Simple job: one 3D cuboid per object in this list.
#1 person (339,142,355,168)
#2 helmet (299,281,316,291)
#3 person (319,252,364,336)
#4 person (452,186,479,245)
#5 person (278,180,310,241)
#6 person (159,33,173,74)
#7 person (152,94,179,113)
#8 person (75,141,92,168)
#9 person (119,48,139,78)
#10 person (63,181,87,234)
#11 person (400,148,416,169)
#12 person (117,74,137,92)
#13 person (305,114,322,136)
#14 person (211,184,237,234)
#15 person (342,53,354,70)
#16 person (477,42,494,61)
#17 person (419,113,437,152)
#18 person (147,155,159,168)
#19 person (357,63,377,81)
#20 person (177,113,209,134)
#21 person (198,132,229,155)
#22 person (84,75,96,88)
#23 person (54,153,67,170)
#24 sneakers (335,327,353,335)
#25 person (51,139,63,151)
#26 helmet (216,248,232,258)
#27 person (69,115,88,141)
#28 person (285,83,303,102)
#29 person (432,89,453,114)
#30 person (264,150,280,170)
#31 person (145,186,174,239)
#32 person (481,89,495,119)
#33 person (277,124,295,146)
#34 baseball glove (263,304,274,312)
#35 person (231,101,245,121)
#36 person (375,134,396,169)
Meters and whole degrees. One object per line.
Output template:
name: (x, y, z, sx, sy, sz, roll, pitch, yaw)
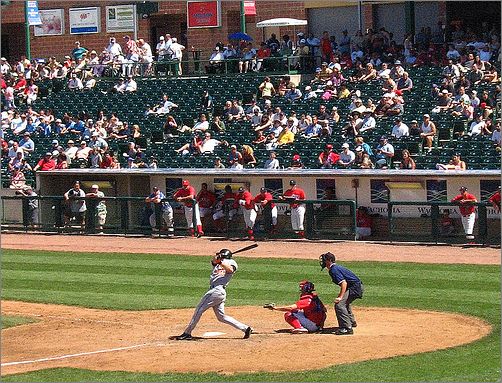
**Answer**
person: (3.654, -1.418, 50.227, 0.472, 0.828, 0.819, -10, 13, -39)
helmet: (1.666, 2.594, 38.860, 0.335, 0.274, 0.275, 2, -4, 10)
person: (2.674, 2.784, 38.567, 1.149, 2.245, 0.623, -1, 10, 4)
person: (7.609, 0.808, 46.631, 0.622, 2.130, 0.799, -14, 11, -34)
person: (1.645, 0.547, 48.711, 0.875, 2.006, 0.527, 2, 11, 17)
person: (-3.768, -6.171, 60.127, 0.549, 1.606, 1.116, -2, 10, -3)
person: (-3.654, -3.663, 56.956, 0.648, 0.541, 0.936, 11, 6, 15)
person: (-6.829, -1.631, 54.709, 0.682, 0.896, 1.628, -3, 10, -8)
person: (-5.436, -5.743, 60.395, 0.803, 1.047, 0.992, -2, 10, -2)
person: (-6.630, 0.466, 50.980, 1.009, 1.759, 0.596, 4, 11, 27)
person: (5.783, -1.253, 49.061, 0.501, 0.649, 0.805, 0, 10, 7)
person: (-5.462, -4.762, 59.370, 0.629, 0.585, 0.845, 4, -3, 8)
person: (2.489, -2.618, 52.620, 0.628, 0.856, 0.520, 3, -23, 23)
person: (-0.856, 0.548, 49.814, 0.725, 1.697, 1.046, -7, 11, -27)
person: (4.141, -5.515, 56.924, 0.642, 0.513, 0.929, 0, 46, 7)
person: (9.325, -5.458, 52.881, 0.591, 0.436, 1.419, -9, 14, 26)
person: (6.705, -2.272, 50.245, 0.567, 1.289, 0.677, 0, 10, 8)
person: (-3.782, -1.166, 52.817, 0.426, 0.759, 0.555, 3, 8, -10)
person: (4.879, -4.797, 54.656, 0.557, 0.781, 0.324, 2, -13, 22)
person: (-2.327, -2.836, 55.254, 1.172, 0.830, 0.615, 9, 9, -1)
person: (-1.526, -2.009, 53.780, 0.818, 0.792, 0.891, 7, 13, 41)
person: (-7.244, -4.944, 60.544, 0.442, 0.759, 0.420, 2, -38, 7)
person: (-7.522, -1.236, 53.479, 0.517, 0.831, 0.672, 3, -3, -9)
sneakers: (2.734, 3.826, 38.470, 0.457, 0.208, 0.186, 1, 5, -1)
person: (-8.097, -1.997, 55.806, 0.510, 0.336, 0.711, -2, 34, -4)
helmet: (-0.711, 1.703, 38.412, 0.448, 0.325, 0.428, -2, 10, -1)
person: (-7.282, -2.768, 56.814, 0.686, 0.803, 2.049, -4, 10, -11)
person: (1.776, -4.135, 55.368, 0.631, 0.650, 0.924, -8, 12, -33)
person: (7.498, -3.452, 51.598, 0.580, 0.909, 1.015, 13, 20, 40)
person: (0.846, -1.294, 51.361, 0.608, 0.648, 0.920, -1, 10, 1)
person: (-3.355, 0.641, 50.030, 1.013, 1.819, 0.510, -1, 10, 1)
person: (8.971, -3.318, 50.568, 0.495, 0.987, 1.017, 0, 10, 9)
person: (1.418, -2.247, 52.456, 0.693, 0.740, 0.419, -1, 10, 5)
baseball glove: (0.555, 3.217, 39.092, 0.266, 0.095, 0.254, 8, 27, 6)
person: (-0.509, -3.391, 55.351, 0.535, 0.688, 0.751, -3, 10, -9)
person: (5.035, -1.506, 49.871, 0.740, 1.078, 0.457, 1, 11, 15)
